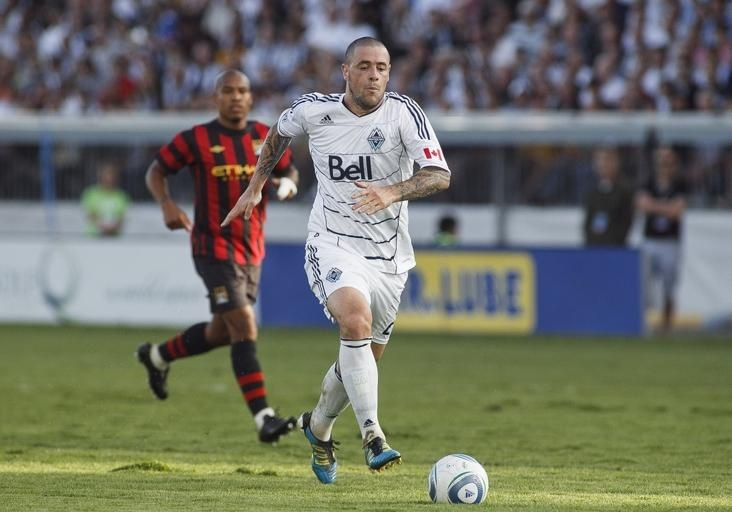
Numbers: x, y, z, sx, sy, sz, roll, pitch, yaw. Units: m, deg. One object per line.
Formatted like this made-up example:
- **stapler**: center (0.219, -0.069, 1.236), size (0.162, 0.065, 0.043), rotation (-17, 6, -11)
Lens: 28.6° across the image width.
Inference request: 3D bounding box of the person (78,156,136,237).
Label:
- **person**: center (-3.234, -0.645, 17.774), size (0.220, 0.944, 0.608), rotation (6, 11, 35)

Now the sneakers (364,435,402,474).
- **sneakers**: center (0.137, 1.740, 12.388), size (0.307, 0.324, 0.266), rotation (-1, 9, -2)

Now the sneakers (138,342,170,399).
- **sneakers**: center (-2.063, 1.155, 14.054), size (0.224, 0.620, 0.285), rotation (-20, 25, -8)

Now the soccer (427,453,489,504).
- **soccer**: center (0.819, 1.971, 12.307), size (0.431, 0.416, 0.415), rotation (30, 48, -11)

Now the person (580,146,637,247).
- **person**: center (2.867, -0.644, 16.675), size (0.581, 1.086, 0.750), rotation (3, 10, 22)
